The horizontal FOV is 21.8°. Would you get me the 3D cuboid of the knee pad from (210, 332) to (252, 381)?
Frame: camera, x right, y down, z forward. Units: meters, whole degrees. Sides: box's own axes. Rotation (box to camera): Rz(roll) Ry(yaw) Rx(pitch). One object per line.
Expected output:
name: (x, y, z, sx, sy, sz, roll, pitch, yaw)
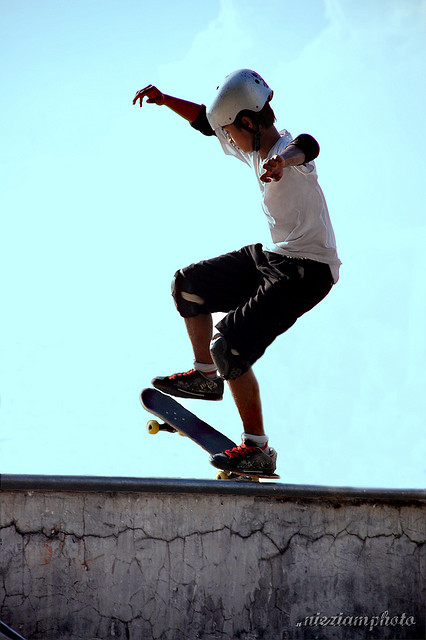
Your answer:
knee pad: (0.068, 0.183, 5.519, 0.172, 0.223, 0.161, -52, 17, -2)
